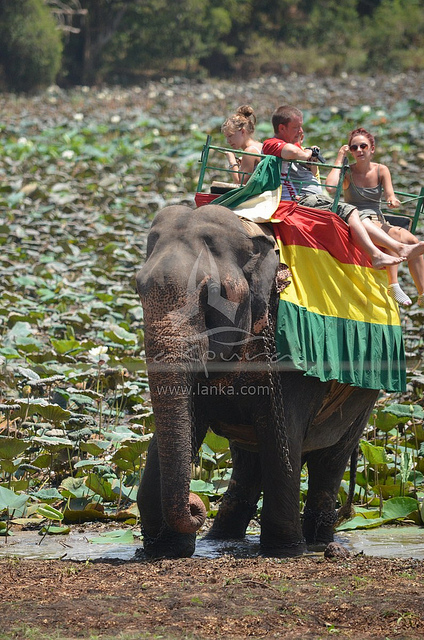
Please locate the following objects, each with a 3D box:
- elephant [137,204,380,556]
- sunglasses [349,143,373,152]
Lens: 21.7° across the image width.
[{"bbox_3d":[0.207,0.427,6.100,0.788,2.075,1.768,9,15,29],"label":"elephant"},{"bbox_3d":[1.024,-1.150,7.455,0.151,0.062,0.136,2,12,6],"label":"sunglasses"}]
